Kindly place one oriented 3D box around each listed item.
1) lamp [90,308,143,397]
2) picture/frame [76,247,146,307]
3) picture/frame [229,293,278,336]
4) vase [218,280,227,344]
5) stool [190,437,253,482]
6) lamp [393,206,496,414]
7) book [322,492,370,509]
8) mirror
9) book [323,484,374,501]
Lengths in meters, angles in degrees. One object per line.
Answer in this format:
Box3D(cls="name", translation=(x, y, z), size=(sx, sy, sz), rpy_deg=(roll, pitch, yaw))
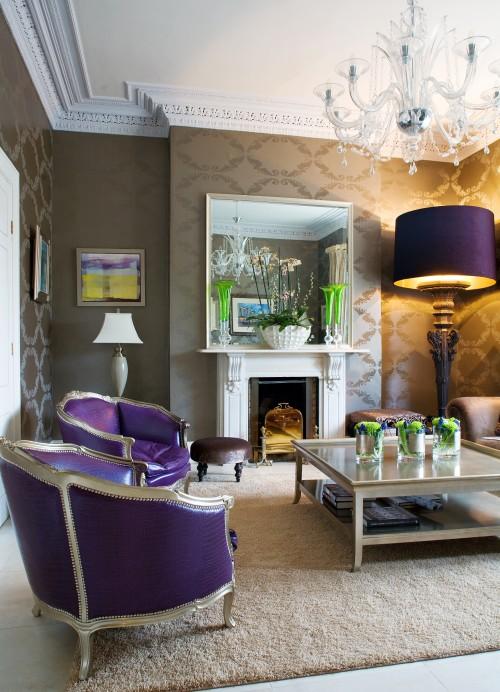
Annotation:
Box3D(cls="lamp", translation=(-1.047, 0.081, 4.389), size=(0.360, 0.686, 0.571), rpy_deg=(0, 0, -13))
Box3D(cls="picture/frame", translation=(-1.202, -0.588, 4.658), size=(0.485, 0.432, 0.035), rpy_deg=(0, 3, -11))
Box3D(cls="picture/frame", translation=(0.012, -0.254, 4.600), size=(0.342, 0.344, 0.034), rpy_deg=(1, -3, -12))
Box3D(cls="vase", translation=(-0.217, -0.265, 4.525), size=(0.089, 0.512, 0.139), rpy_deg=(0, 0, 1))
Box3D(cls="stool", translation=(-0.204, 0.771, 3.884), size=(0.322, 0.230, 0.331), rpy_deg=(0, -6, -3))
Box3D(cls="lamp", translation=(1.575, -0.268, 4.450), size=(0.796, 1.707, 0.788), rpy_deg=(0, 0, 14))
Box3D(cls="book", translation=(0.459, 0.735, 2.603), size=(0.197, 0.048, 0.205), rpy_deg=(0, -2, 5))
Box3D(cls="mirror", translation=(0.195, -0.638, 4.665), size=(1.289, 1.354, 0.057), rpy_deg=(1, -3, -14))
Box3D(cls="book", translation=(0.446, 0.751, 2.824), size=(0.146, 0.036, 0.148), rpy_deg=(4, 2, -11))
